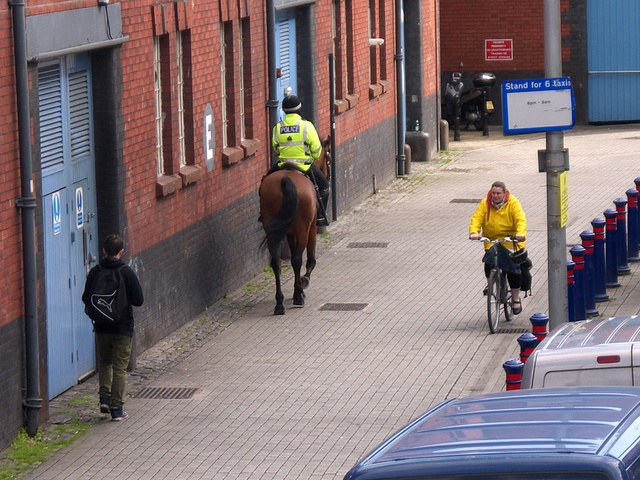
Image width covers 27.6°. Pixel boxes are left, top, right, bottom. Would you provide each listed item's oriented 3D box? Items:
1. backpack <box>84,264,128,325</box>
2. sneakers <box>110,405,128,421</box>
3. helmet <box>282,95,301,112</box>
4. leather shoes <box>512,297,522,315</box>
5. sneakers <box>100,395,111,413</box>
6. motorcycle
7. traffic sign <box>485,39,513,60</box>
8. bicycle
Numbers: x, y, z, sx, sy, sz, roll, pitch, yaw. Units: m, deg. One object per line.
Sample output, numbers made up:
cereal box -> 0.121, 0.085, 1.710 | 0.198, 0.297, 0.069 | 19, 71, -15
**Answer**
backpack -> -2.149, 0.554, 13.274 | 0.413, 0.549, 0.299 | 3, 11, 15
sneakers -> -2.070, 1.785, 13.496 | 0.080, 0.140, 0.209 | 2, 8, 12
helmet -> -0.395, -1.957, 18.630 | 0.240, 0.186, 0.239 | -13, 36, -9
leather shoes -> 2.531, 0.824, 16.848 | 0.161, 0.117, 0.442 | -2, 10, 6
sneakers -> -2.230, 1.697, 13.530 | 0.070, 0.086, 0.185 | 1, 2, 5
motorcycle -> 4.135, -3.894, 36.480 | 1.403, 1.797, 2.220 | -1, 12, 5
traffic sign -> 5.299, -5.729, 38.493 | 0.644, 0.483, 0.067 | 0, 3, 18
bicycle -> 2.272, 0.500, 16.385 | 0.506, 1.196, 1.229 | 4, 13, 28
